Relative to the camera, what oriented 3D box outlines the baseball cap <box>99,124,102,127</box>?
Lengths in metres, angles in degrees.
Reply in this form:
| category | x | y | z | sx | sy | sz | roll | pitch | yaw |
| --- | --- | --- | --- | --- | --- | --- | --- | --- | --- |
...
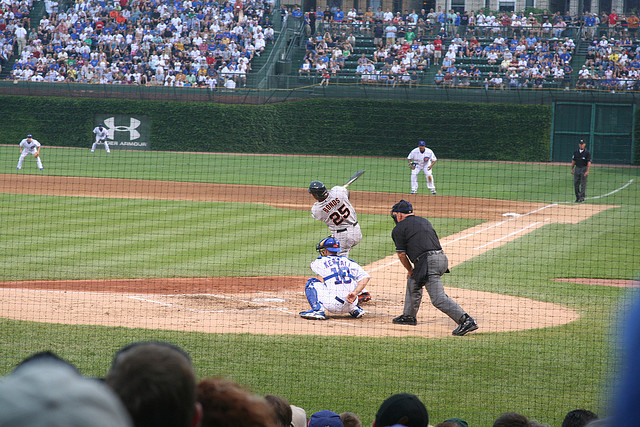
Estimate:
| category | x | y | z | sx | sy | sz | roll | pitch | yaw |
| --- | --- | --- | --- | --- | --- | --- | --- | --- | --- |
| baseball cap | -12.138 | -4.957 | 63.994 | 0.250 | 0.150 | 0.226 | 0 | -2 | -15 |

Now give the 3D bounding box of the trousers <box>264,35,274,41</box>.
| category | x | y | z | sx | sy | sz | roll | pitch | yaw |
| --- | --- | --- | --- | --- | --- | --- | --- | --- | --- |
| trousers | -3.035 | -10.599 | 69.231 | 0.623 | 0.327 | 0.198 | 0 | 6 | -21 |

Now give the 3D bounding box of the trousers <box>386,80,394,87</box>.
| category | x | y | z | sx | sy | sz | roll | pitch | yaw |
| --- | --- | --- | --- | --- | --- | --- | --- | --- | --- |
| trousers | 3.907 | -7.331 | 64.652 | 0.422 | 0.358 | 0.093 | 0 | -10 | 6 |

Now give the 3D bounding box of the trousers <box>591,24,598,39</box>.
| category | x | y | z | sx | sy | sz | roll | pitch | yaw |
| --- | --- | --- | --- | --- | --- | --- | --- | --- | --- |
| trousers | 15.687 | -10.501 | 66.254 | 0.171 | 0.631 | 0.698 | 13 | -21 | 8 |

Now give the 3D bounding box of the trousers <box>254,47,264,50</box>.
| category | x | y | z | sx | sy | sz | roll | pitch | yaw |
| --- | --- | --- | --- | --- | --- | --- | --- | --- | --- |
| trousers | -3.629 | -9.879 | 68.564 | 0.541 | 0.139 | 0.107 | 1 | 6 | -14 |

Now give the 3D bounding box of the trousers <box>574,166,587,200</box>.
| category | x | y | z | sx | sy | sz | roll | pitch | yaw |
| --- | --- | --- | --- | --- | --- | --- | --- | --- | --- |
| trousers | 11.095 | -1.336 | 49.439 | 0.516 | 1.466 | 0.628 | 4 | 6 | 13 |

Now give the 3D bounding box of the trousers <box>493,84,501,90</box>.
| category | x | y | z | sx | sy | sz | roll | pitch | yaw |
| --- | --- | --- | --- | --- | --- | --- | --- | --- | --- |
| trousers | 9.745 | -7.050 | 63.704 | 0.424 | 0.211 | 0.565 | 0 | 2 | -3 |

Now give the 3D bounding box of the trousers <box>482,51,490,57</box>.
| category | x | y | z | sx | sy | sz | roll | pitch | yaw |
| --- | --- | --- | --- | --- | --- | --- | --- | --- | --- |
| trousers | 9.546 | -9.257 | 66.504 | 0.208 | 0.346 | 0.748 | 2 | 5 | -10 |

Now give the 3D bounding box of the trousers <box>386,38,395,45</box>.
| category | x | y | z | sx | sy | sz | roll | pitch | yaw |
| --- | --- | --- | --- | --- | --- | --- | --- | --- | --- |
| trousers | 4.231 | -10.418 | 69.382 | 0.558 | 0.475 | 0.289 | 0 | -3 | 12 |

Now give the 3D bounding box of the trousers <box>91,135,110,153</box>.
| category | x | y | z | sx | sy | sz | roll | pitch | yaw |
| --- | --- | --- | --- | --- | --- | --- | --- | --- | --- |
| trousers | -12.140 | -3.886 | 64.213 | 1.049 | 0.882 | 0.516 | 14 | -1 | -21 |

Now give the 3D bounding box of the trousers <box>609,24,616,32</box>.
| category | x | y | z | sx | sy | sz | roll | pitch | yaw |
| --- | --- | --- | --- | --- | --- | --- | --- | --- | --- |
| trousers | 16.674 | -10.677 | 65.997 | 0.393 | 0.491 | 0.284 | 11 | 29 | 20 |

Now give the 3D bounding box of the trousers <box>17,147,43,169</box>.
| category | x | y | z | sx | sy | sz | roll | pitch | yaw |
| --- | --- | --- | --- | --- | --- | --- | --- | --- | --- |
| trousers | -14.243 | -2.729 | 56.703 | 1.469 | 1.241 | 0.609 | 4 | -6 | -16 |
